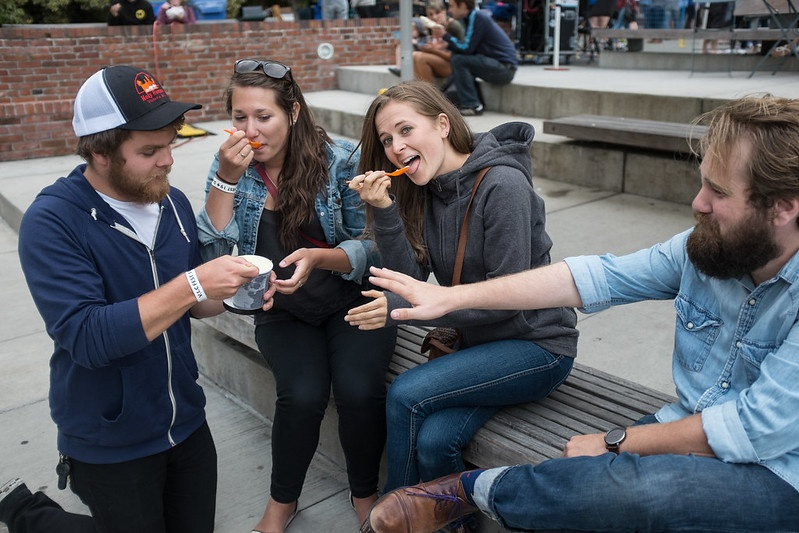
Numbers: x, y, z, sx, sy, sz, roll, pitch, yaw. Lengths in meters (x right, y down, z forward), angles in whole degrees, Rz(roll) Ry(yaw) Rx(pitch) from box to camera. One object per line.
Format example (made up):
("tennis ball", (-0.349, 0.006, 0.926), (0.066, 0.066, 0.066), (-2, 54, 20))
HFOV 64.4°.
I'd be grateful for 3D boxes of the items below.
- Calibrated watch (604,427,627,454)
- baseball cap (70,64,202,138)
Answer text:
("Calibrated watch", (0.875, 0.709, 2.593), (0.069, 0.096, 0.094), (-16, 35, 51))
("baseball cap", (-1.133, -0.670, 2.686), (0.468, 0.204, 0.300), (-8, 18, 8))
